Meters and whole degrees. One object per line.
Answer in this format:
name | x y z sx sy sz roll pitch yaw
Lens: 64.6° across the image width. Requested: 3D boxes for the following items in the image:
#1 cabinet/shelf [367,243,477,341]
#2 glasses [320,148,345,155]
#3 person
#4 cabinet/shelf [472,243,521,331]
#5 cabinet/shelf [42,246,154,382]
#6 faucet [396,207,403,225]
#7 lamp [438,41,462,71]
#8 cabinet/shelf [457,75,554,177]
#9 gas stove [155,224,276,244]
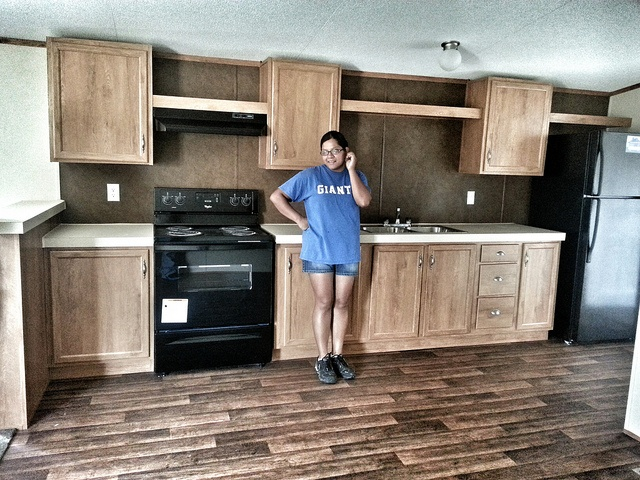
cabinet/shelf | 0.726 0.433 4.480 1.199 0.909 0.590 2 3 -30
glasses | 0.088 -0.635 3.644 0.164 0.057 0.064 -1 7 3
person | 0.037 0.129 3.778 0.675 1.845 0.375 -1 8 4
cabinet/shelf | 1.480 0.386 4.631 0.547 0.824 0.513 2 8 9
cabinet/shelf | -1.594 0.501 4.002 1.017 1.259 0.894 0 1 -15
faucet | 0.725 -0.231 4.737 0.056 0.151 0.181 -1 7 8
lamp | 0.978 -1.399 3.846 0.149 0.204 0.246 0 7 12
cabinet/shelf | 1.671 -1.063 4.581 0.942 0.962 0.527 2 7 -20
gas stove | -0.822 -0.048 3.935 0.852 0.111 0.543 -3 7 -16
